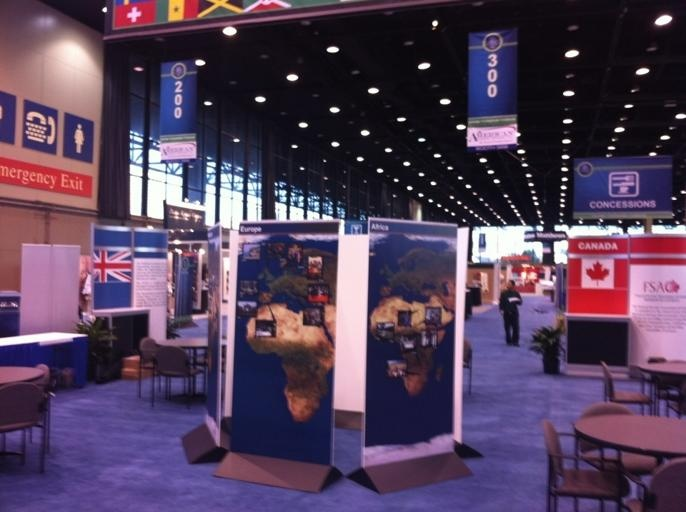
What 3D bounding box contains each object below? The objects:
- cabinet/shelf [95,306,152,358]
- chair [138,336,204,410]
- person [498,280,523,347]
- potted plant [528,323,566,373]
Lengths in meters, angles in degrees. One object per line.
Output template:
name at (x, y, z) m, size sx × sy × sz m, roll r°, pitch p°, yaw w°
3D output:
cabinet/shelf at (-3.902, 1.352, 10.395) m, size 0.261 × 0.709 × 0.822 m, roll -2°, pitch -2°, yaw 16°
chair at (-2.796, 1.741, 9.191) m, size 0.944 × 1.408 × 0.979 m, roll 1°, pitch 0°, yaw 12°
person at (3.944, 1.327, 13.922) m, size 0.451 × 1.534 × 1.309 m, roll 0°, pitch -2°, yaw 15°
potted plant at (3.914, 1.759, 11.375) m, size 0.764 × 1.007 × 0.773 m, roll 4°, pitch -5°, yaw -42°
